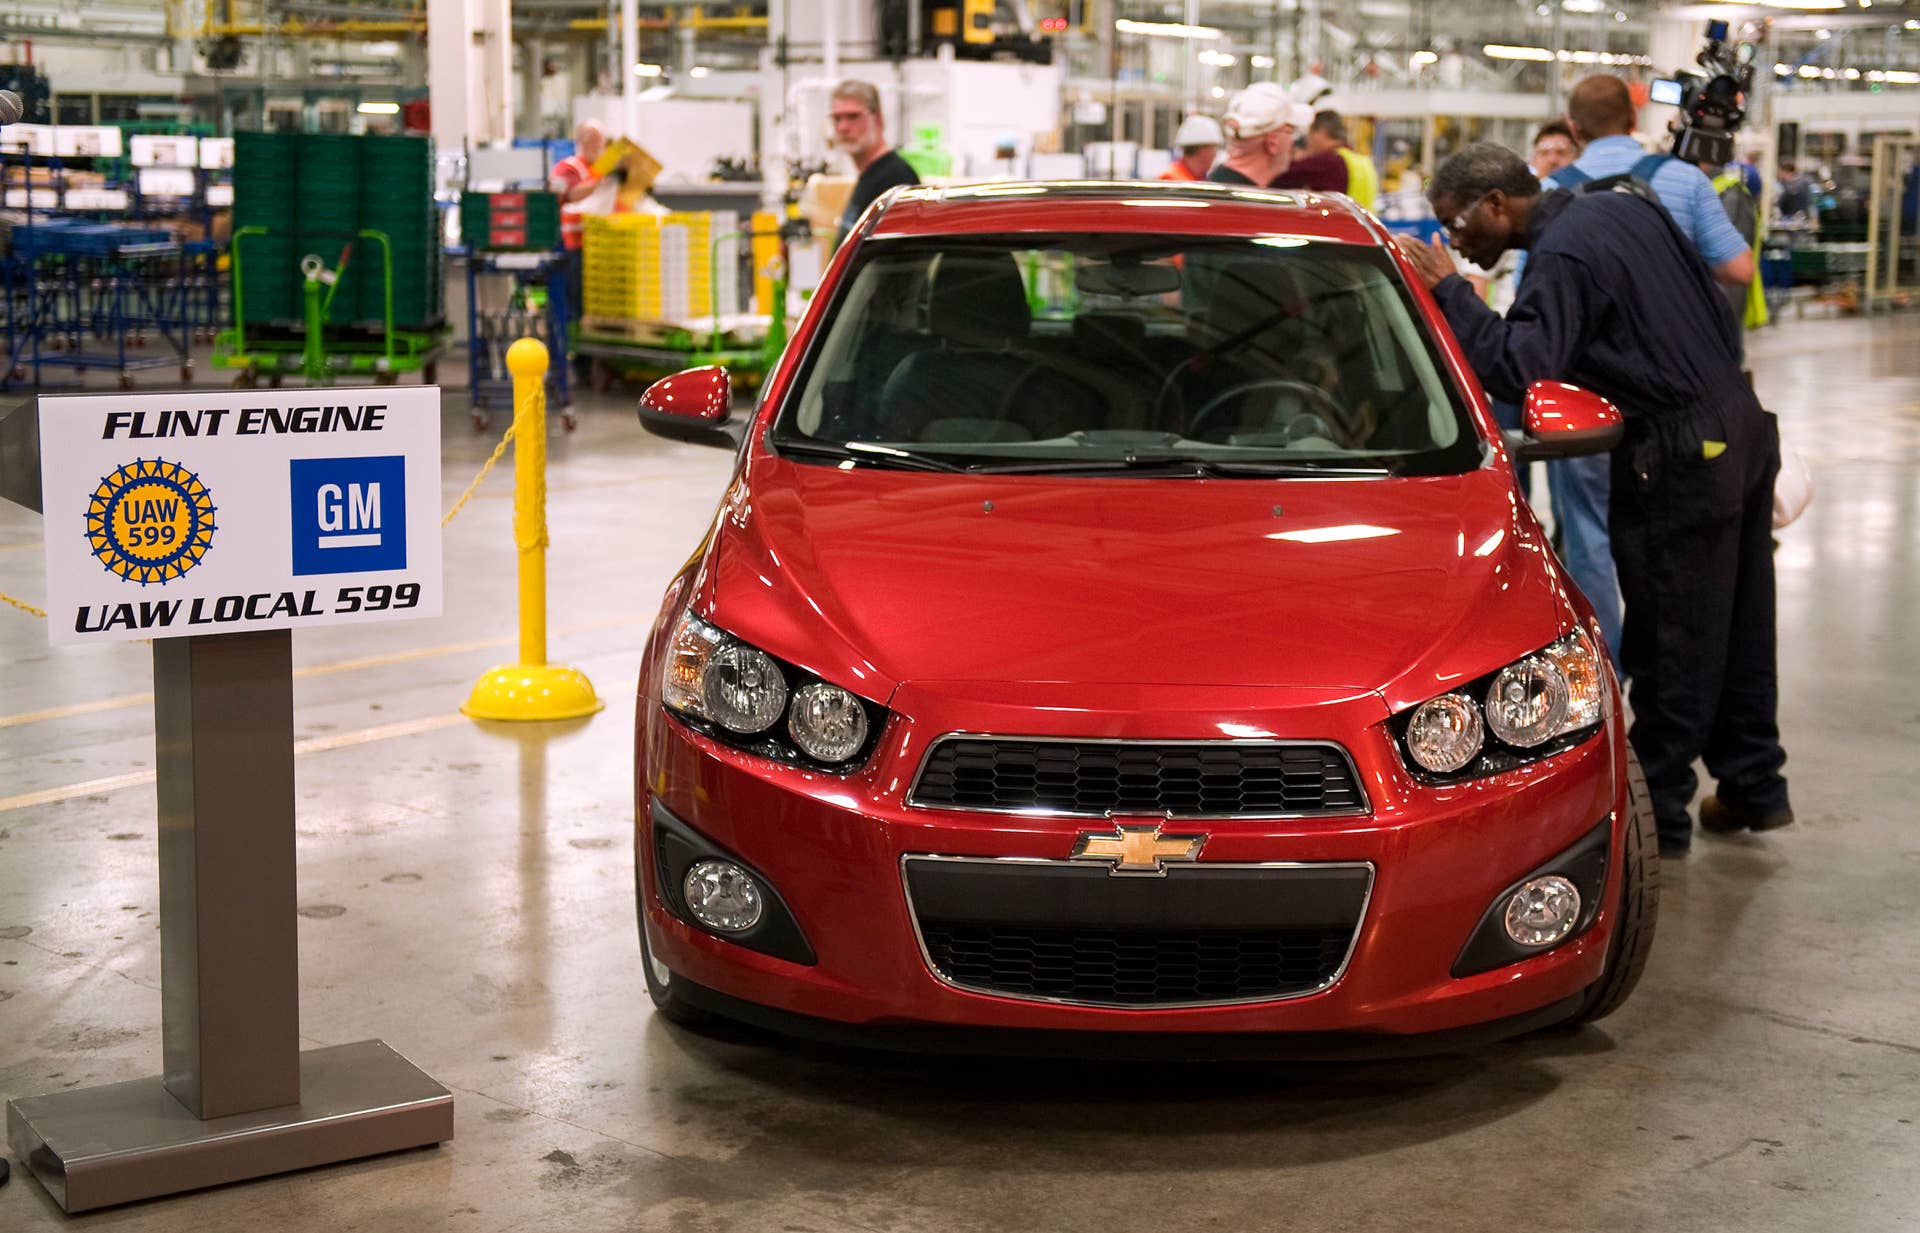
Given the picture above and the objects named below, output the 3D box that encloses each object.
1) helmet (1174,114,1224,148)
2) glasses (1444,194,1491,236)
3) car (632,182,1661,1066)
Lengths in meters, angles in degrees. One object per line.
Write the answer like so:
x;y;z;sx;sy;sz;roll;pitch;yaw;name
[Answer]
1.658;-3.331;12.151;0.437;0.208;0.307;-2;17;0;helmet
1.619;-1.284;5.627;0.089;0.043;0.113;-16;-16;-18;glasses
0.511;-0.286;5.255;1.955;1.320;3.029;1;15;3;car
